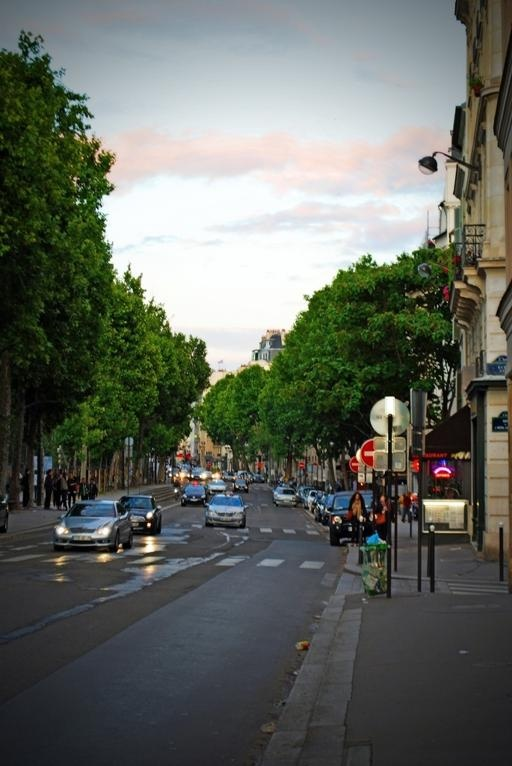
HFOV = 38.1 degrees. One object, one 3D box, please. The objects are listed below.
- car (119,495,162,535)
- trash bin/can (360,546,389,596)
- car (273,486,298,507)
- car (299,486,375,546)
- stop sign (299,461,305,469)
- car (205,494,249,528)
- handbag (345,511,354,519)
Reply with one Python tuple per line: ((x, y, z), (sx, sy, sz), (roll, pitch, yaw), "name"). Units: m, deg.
((-4.831, 5.634, 31.985), (1.210, 1.206, 2.443), (0, -11, 2), "car")
((2.074, 3.208, 12.827), (0.416, 0.914, 0.729), (-3, -3, 9), "trash bin/can")
((2.812, 10.752, 70.317), (1.626, 1.305, 3.310), (0, -10, -1), "car")
((3.980, 5.720, 31.896), (1.900, 2.112, 4.084), (-1, -12, 2), "car")
((6.248, 10.980, 99.969), (0.628, 0.887, 0.151), (1, -6, -27), "stop sign")
((-1.552, 6.755, 38.629), (1.960, 1.702, 2.778), (-4, -4, 7), "car")
((3.763, 5.164, 29.105), (0.272, 0.329, 0.557), (-6, -9, 5), "handbag")
